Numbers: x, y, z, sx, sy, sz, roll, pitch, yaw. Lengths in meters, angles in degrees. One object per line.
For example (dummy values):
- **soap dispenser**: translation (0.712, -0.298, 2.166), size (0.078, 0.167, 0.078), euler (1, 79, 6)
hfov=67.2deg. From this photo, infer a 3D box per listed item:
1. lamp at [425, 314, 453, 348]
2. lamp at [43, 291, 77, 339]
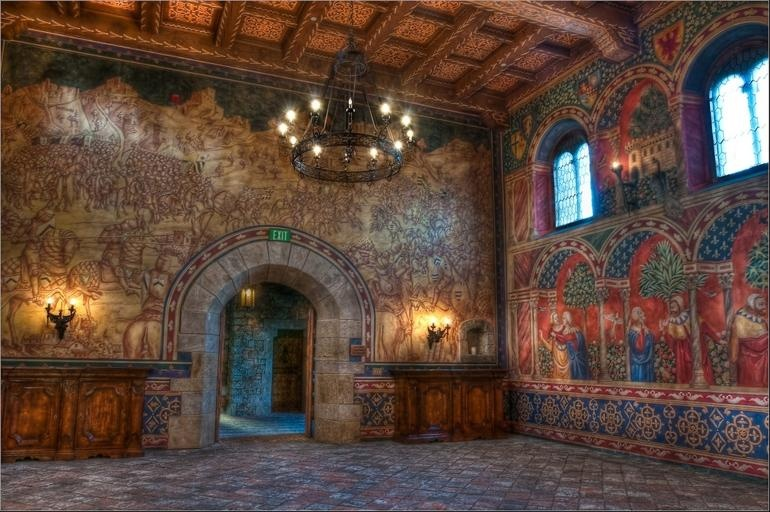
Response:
- **lamp**: translation (1.553, 2.229, 16.877), size (0.834, 1.078, 0.463), euler (8, -17, -30)
- **lamp**: translation (-8.018, 1.488, 14.304), size (0.706, 1.158, 0.228), euler (0, -3, 3)
